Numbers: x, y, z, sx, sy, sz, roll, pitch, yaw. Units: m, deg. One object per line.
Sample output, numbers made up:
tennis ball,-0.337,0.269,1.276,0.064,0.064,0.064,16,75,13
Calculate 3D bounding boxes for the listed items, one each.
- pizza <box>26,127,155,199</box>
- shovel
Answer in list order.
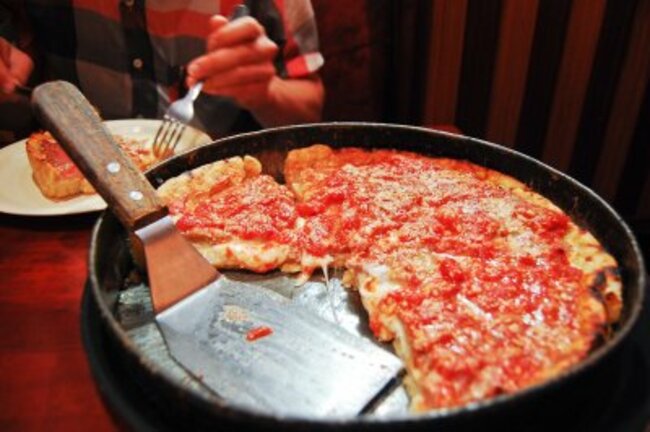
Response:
pizza,-1.184,-0.277,2.536,0.589,0.186,0.392,-19,54,-42
shovel,-0.472,0.200,1.728,1.509,0.540,0.482,29,61,23
